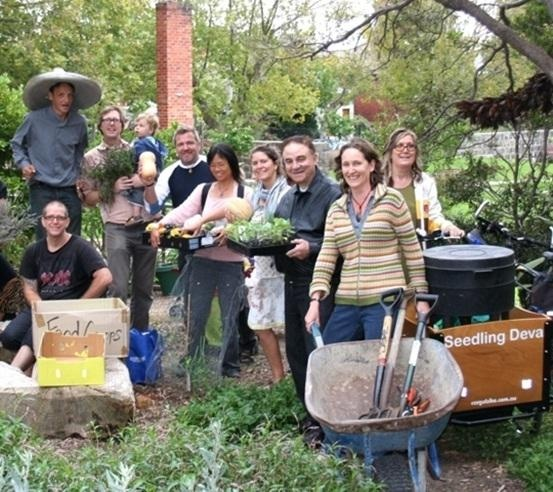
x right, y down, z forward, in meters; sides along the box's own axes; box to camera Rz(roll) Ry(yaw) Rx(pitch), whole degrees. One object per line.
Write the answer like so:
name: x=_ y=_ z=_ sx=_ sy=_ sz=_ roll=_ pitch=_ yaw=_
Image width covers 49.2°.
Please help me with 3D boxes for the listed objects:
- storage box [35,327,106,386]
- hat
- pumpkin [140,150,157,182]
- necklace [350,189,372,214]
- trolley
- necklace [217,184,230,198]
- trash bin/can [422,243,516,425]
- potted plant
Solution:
storage box: x=-1.543 y=0.860 z=4.539 sx=0.417 sy=0.285 sz=0.451 roll=3 pitch=6 yaw=-7
hat: x=-2.223 y=-1.643 z=6.262 sx=0.602 sy=0.275 sz=0.618 roll=-5 pitch=-29 yaw=-24
pumpkin: x=-1.271 y=-0.804 z=6.005 sx=0.152 sy=0.150 sz=0.317 roll=-3 pitch=44 yaw=-3
necklace: x=0.575 y=-0.294 z=4.123 sx=0.117 sy=0.159 sz=0.038 roll=-16 pitch=-25 yaw=35
trolley: x=0.594 y=0.849 z=3.368 sx=0.773 sy=0.624 sz=0.963 roll=-6 pitch=12 yaw=1
necklace: x=-0.491 y=-0.515 z=5.608 sx=0.090 sy=0.136 sz=0.041 roll=0 pitch=-3 yaw=22
trash bin/can: x=1.359 y=0.331 z=4.151 sx=0.581 sy=0.617 sz=0.545 roll=1 pitch=6 yaw=27
potted plant: x=-0.090 y=-0.076 z=4.606 sx=0.362 sy=0.166 sz=0.362 roll=-6 pitch=19 yaw=-17
